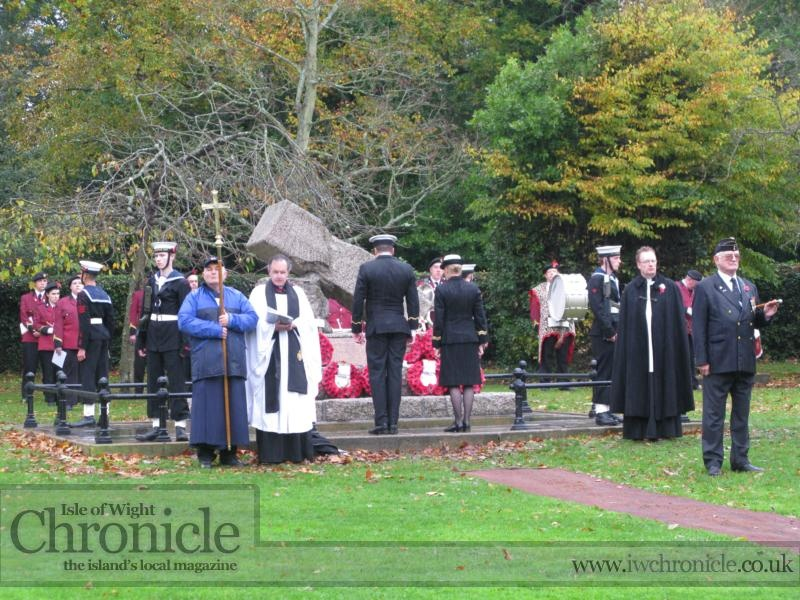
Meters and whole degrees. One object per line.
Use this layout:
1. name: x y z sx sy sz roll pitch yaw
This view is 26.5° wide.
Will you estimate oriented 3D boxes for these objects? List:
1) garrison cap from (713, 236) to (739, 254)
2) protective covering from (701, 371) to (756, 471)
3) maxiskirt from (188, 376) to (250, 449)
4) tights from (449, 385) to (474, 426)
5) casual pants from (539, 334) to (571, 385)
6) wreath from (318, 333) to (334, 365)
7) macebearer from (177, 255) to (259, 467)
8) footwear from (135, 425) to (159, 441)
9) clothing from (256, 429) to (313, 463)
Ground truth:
1. garrison cap: 5.690 -0.981 29.718 0.387 0.195 0.399 2 -6 -14
2. protective covering: 5.706 1.952 29.412 0.933 2.139 0.638 -3 11 -15
3. maxiskirt: -3.183 2.000 29.897 1.000 1.232 0.313 0 -7 -6
4. tights: 1.159 2.049 31.821 0.429 0.787 0.395 -1 -7 -2
5. casual pants: 3.534 1.255 38.934 0.654 0.847 0.964 2 -7 -20
6. wreath: -1.423 0.957 32.872 0.244 0.497 0.394 -15 -4 21
7. macebearer: -3.286 1.066 30.126 1.529 3.502 1.140 -4 4 -42
8. footwear: -4.693 2.492 31.126 0.601 0.240 0.218 -2 -5 35
9. clothing: -2.101 2.676 30.354 1.103 0.702 0.580 1 -10 -18
